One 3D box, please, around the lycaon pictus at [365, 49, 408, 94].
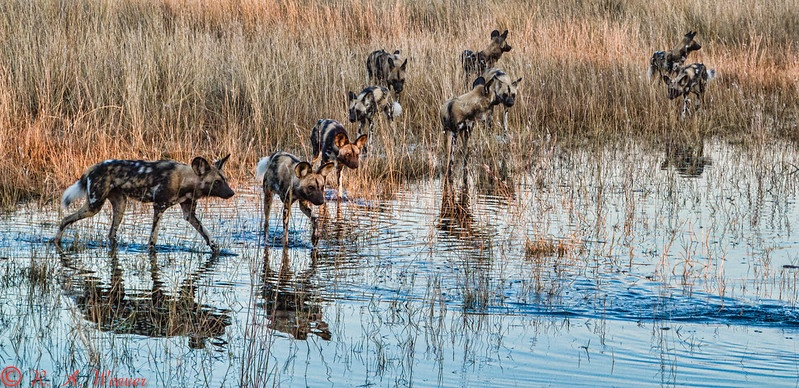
[{"bbox_3d":[-0.472,-3.579,27.528,0.580,2.170,1.221,-15,-62,-20],"label":"lycaon pictus"}]
